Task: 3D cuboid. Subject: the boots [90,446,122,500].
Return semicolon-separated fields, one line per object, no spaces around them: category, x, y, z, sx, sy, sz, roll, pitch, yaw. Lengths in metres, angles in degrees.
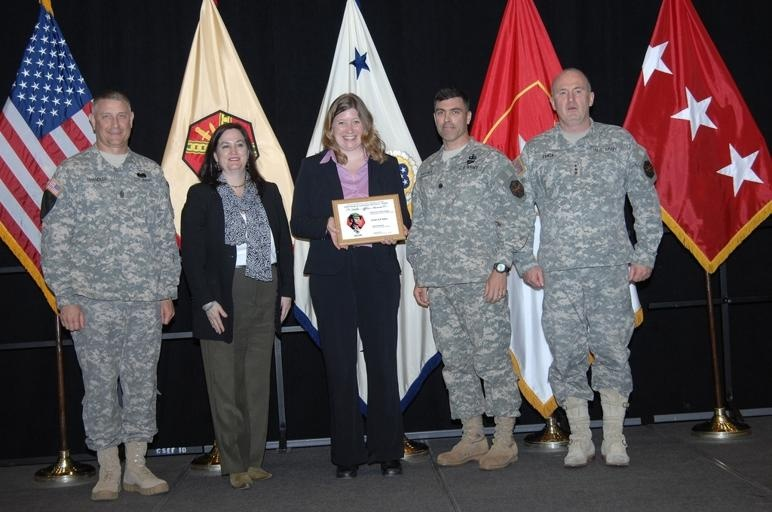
boots;-1.932;1.492;4.713;0.158;0.343;0.357;0;-7;-13

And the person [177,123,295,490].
person;-1.021;0.320;4.829;0.691;2.482;0.388;-8;8;-44

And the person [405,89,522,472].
person;0.602;0.146;4.970;0.877;2.710;0.418;-2;5;6

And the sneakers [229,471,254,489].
sneakers;-1.014;1.548;4.749;0.142;0.119;0.139;-5;6;-16

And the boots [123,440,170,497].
boots;-1.707;1.484;4.779;0.349;0.342;0.138;-2;-2;26

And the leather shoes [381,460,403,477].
leather shoes;0.040;1.501;4.822;0.138;0.136;0.086;-3;2;-5

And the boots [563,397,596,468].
boots;1.367;1.245;4.873;0.186;0.463;0.460;-11;-11;29

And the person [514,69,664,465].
person;1.437;0.072;4.849;0.988;2.789;0.491;-1;6;21

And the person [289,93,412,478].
person;-0.227;0.203;4.861;0.834;2.685;0.401;-3;5;1

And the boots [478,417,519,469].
boots;0.820;1.351;4.944;0.374;0.364;0.163;-6;0;-43

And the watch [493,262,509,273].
watch;0.799;0.085;4.746;0.081;0.070;0.077;7;-11;13
